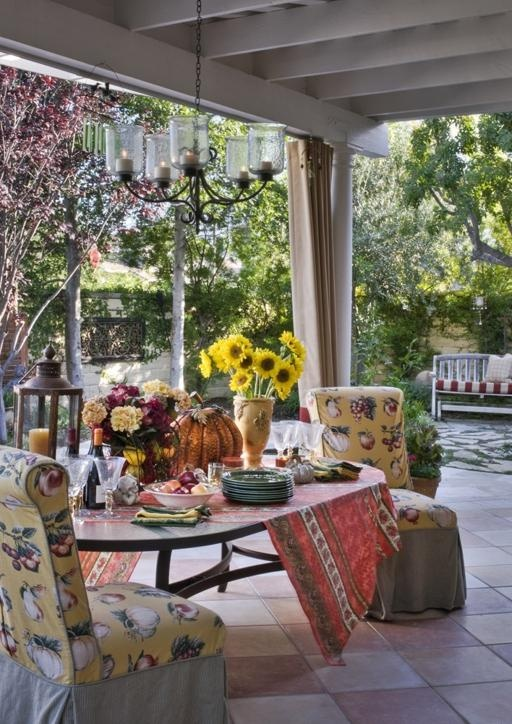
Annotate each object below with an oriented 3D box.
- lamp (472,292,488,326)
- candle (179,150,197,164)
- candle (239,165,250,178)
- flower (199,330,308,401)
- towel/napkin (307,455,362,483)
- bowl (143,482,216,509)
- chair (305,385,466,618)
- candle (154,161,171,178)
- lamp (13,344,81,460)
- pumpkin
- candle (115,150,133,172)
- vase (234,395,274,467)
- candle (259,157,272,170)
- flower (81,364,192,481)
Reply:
[{"bbox_3d":[3.260,-0.762,10.420,0.199,0.472,0.348,1,2,23],"label":"lamp"},{"bbox_3d":[-0.207,-0.630,2.177,0.054,0.046,0.016,1,2,7],"label":"candle"},{"bbox_3d":[-0.041,-0.626,2.329,0.035,0.037,0.036,14,20,38],"label":"candle"},{"bbox_3d":[-0.019,0.014,2.449,0.343,0.234,0.328,0,1,-7],"label":"flower"},{"bbox_3d":[0.264,0.357,2.364,0.168,0.059,0.213,1,1,8],"label":"towel/napkin"},{"bbox_3d":[-0.195,0.343,1.894,0.176,0.065,0.151,0,4,-29],"label":"bowl"},{"bbox_3d":[0.554,0.557,2.963,0.464,0.887,0.512,-1,2,-31],"label":"chair"},{"bbox_3d":[-0.311,-0.627,2.342,0.057,0.058,0.055,3,-10,-18],"label":"candle"},{"bbox_3d":[-0.673,0.123,2.355,0.224,0.447,0.247,3,4,24],"label":"lamp"},{"bbox_3d":[-0.165,0.212,2.220,0.203,0.240,0.182,2,3,19],"label":"pumpkin"},{"bbox_3d":[-0.414,-0.626,2.216,0.063,0.064,0.060,-1,5,-12],"label":"candle"},{"bbox_3d":[-0.009,0.225,2.399,0.136,0.227,0.134,8,5,45],"label":"vase"},{"bbox_3d":[0.029,-0.637,2.263,0.035,0.032,0.034,2,7,5],"label":"candle"},{"bbox_3d":[-0.361,0.172,2.037,0.226,0.300,0.243,7,8,39],"label":"flower"}]
